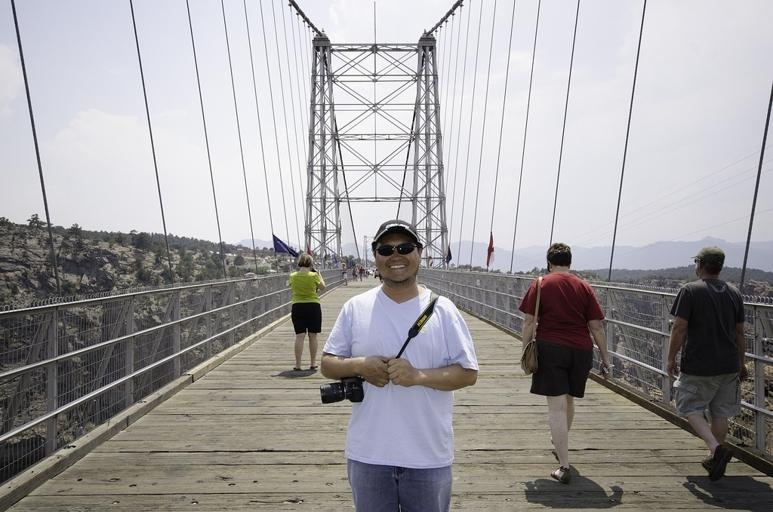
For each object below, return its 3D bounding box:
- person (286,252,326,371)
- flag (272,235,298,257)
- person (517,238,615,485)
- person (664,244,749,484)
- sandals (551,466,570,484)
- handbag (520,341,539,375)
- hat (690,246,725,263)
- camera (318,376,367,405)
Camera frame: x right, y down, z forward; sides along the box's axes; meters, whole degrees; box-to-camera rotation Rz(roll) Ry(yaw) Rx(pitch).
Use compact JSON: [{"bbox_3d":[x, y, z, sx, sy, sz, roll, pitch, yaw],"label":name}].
[{"bbox_3d":[-1.441,1.008,8.174,0.577,2.101,0.822,0,1,-12],"label":"person"},{"bbox_3d":[-4.605,-0.481,20.089,0.854,0.826,3.722,0,0,-12],"label":"flag"},{"bbox_3d":[1.724,0.986,4.543,0.700,2.239,0.688,-1,1,-42],"label":"person"},{"bbox_3d":[3.071,0.997,4.352,0.581,2.143,0.483,1,1,40],"label":"person"},{"bbox_3d":[1.630,2.041,4.259,0.100,0.119,0.204,0,-1,2],"label":"sandals"},{"bbox_3d":[1.399,0.993,4.447,0.160,0.337,0.093,1,1,29],"label":"handbag"},{"bbox_3d":[3.138,0.010,4.437,0.178,0.129,0.242,2,-7,-22],"label":"hat"},{"bbox_3d":[-0.258,0.745,2.500,0.218,0.134,0.140,-3,4,-2],"label":"camera"}]
